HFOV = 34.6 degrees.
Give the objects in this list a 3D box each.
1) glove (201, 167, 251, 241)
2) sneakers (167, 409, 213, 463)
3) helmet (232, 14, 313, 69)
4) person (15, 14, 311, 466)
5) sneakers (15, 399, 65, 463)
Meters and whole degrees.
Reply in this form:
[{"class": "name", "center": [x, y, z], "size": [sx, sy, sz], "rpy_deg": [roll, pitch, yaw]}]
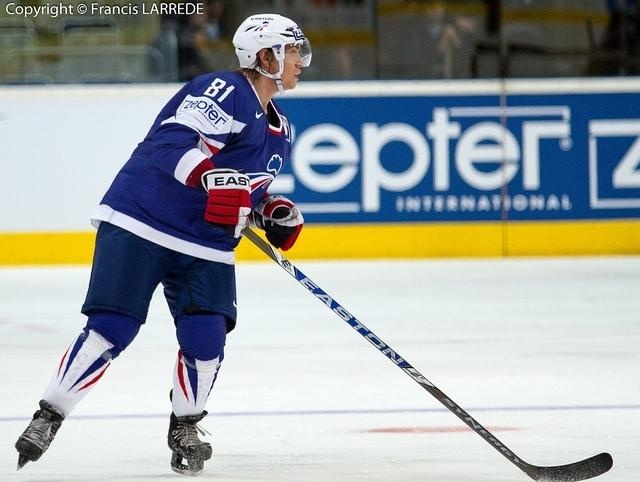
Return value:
[{"class": "glove", "center": [-0.367, -0.150, 4.094], "size": [0.208, 0.275, 0.217], "rpy_deg": [2, -7, -19]}, {"class": "sneakers", "center": [-0.540, 0.784, 4.224], "size": [0.115, 0.181, 0.272], "rpy_deg": [3, 5, -30]}, {"class": "helmet", "center": [-0.183, -0.845, 4.324], "size": [0.363, 0.194, 0.247], "rpy_deg": [5, 19, 16]}, {"class": "person", "center": [-0.572, 0.009, 4.173], "size": [1.280, 1.830, 0.514], "rpy_deg": [-10, 17, -37]}, {"class": "sneakers", "center": [-1.117, 0.762, 4.022], "size": [0.150, 0.131, 0.258], "rpy_deg": [35, 38, -17]}]
